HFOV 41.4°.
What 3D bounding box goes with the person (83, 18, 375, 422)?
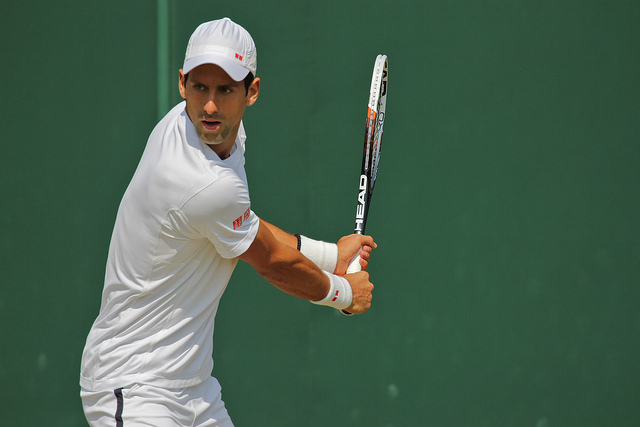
[{"bbox_3d":[-0.672,0.182,4.466,1.476,1.938,0.797,-27,36,-31],"label":"person"}]
